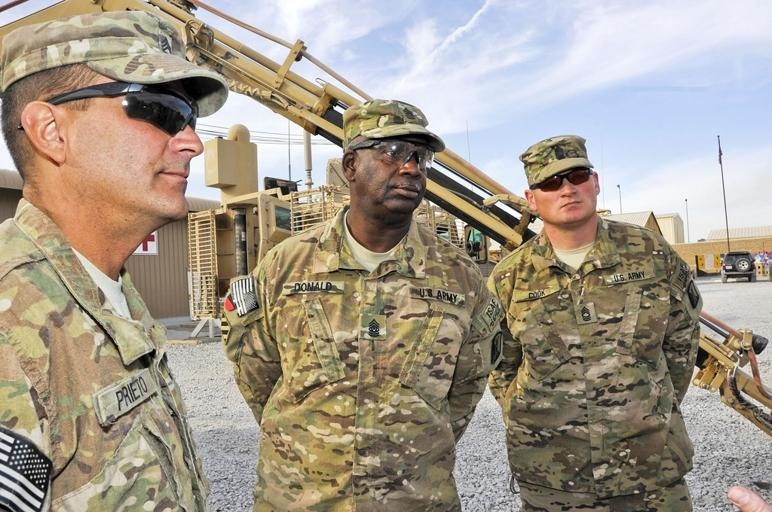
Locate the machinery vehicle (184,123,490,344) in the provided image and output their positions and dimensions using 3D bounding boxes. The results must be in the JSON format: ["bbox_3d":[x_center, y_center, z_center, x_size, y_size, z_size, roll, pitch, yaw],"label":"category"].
[{"bbox_3d":[-2.559,-0.539,12.588,6.199,3.917,3.937,0,2,17],"label":"machinery vehicle"}]

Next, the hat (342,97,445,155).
[{"bbox_3d":[0.031,-0.770,3.439,0.499,0.267,0.608,3,-2,-39],"label":"hat"}]

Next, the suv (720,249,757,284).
[{"bbox_3d":[15.777,0.504,25.976,1.144,0.931,1.884,0,-5,18],"label":"suv"}]
